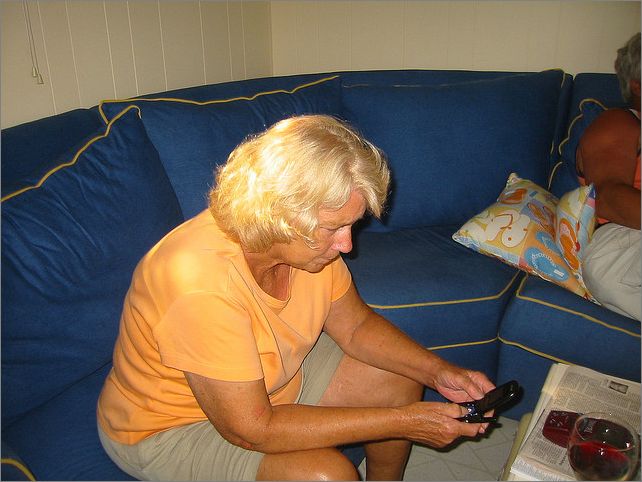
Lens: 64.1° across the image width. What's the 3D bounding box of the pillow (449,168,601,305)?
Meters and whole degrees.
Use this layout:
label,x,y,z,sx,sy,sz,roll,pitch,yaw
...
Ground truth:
label,x,y,z,sx,sy,sz,roll,pitch,yaw
pillow,0.860,-0.036,2.039,0.619,0.156,0.607,-17,50,-21
